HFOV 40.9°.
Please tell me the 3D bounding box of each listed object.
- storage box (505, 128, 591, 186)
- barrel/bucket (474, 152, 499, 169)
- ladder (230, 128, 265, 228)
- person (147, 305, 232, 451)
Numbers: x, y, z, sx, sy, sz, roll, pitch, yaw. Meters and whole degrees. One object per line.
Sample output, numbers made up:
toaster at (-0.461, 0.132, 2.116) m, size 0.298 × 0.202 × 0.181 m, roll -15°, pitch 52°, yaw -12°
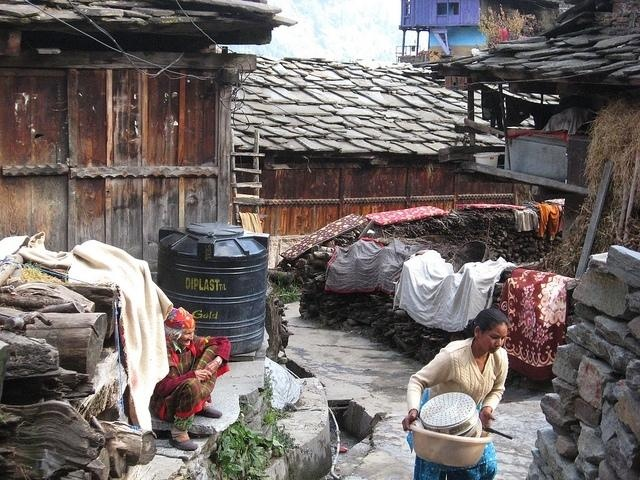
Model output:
storage box at (4.035, -1.528, 15.536) m, size 0.470 × 0.971 × 2.216 m, roll -1°, pitch 7°, yaw -16°
barrel/bucket at (3.518, -1.525, 18.307) m, size 0.663 × 0.465 × 0.449 m, roll -6°, pitch 6°, yaw -44°
ladder at (-1.455, -1.039, 16.733) m, size 0.644 × 2.314 × 0.630 m, roll -1°, pitch 18°, yaw -15°
person at (-1.356, 1.460, 8.748) m, size 0.805 × 1.381 × 1.087 m, roll 6°, pitch 18°, yaw 15°
